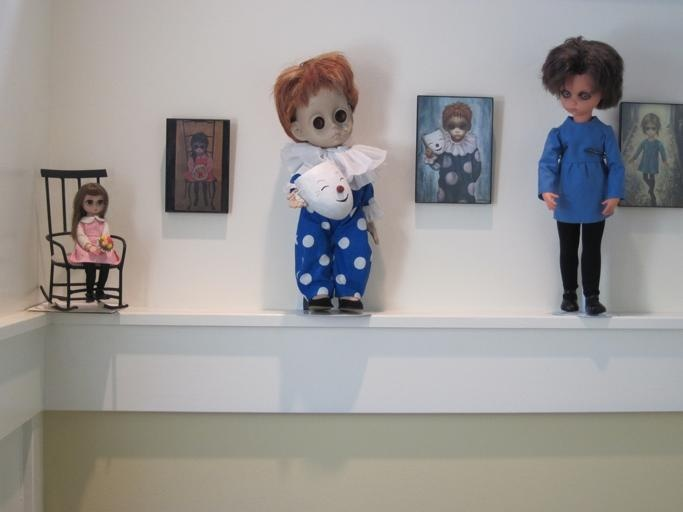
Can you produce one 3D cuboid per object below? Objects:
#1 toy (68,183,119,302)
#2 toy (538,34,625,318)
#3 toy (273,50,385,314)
[{"bbox_3d":[-0.964,-0.047,2.437,0.188,0.463,0.159,5,7,38],"label":"toy"},{"bbox_3d":[0.948,-0.315,2.535,0.326,1.105,0.208,1,5,1],"label":"toy"},{"bbox_3d":[-0.051,-0.287,2.481,0.428,1.025,0.278,0,6,-7],"label":"toy"}]
